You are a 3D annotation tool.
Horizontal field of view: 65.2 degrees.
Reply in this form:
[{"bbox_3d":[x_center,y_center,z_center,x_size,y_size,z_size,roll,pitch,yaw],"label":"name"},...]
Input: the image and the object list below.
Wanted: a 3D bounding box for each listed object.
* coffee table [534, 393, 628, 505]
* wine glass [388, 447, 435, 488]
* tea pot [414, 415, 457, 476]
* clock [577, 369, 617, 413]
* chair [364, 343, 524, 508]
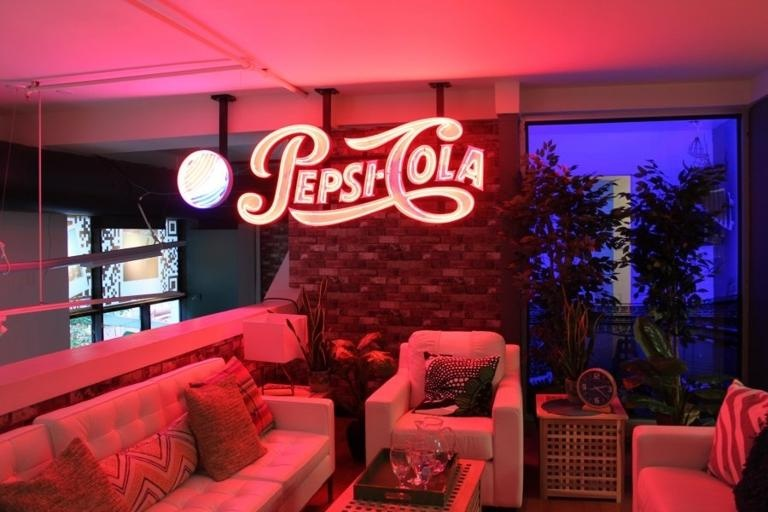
[{"bbox_3d":[1.662,1.664,5.085,0.640,0.500,0.836,0,-2,11],"label":"coffee table"},{"bbox_3d":[0.192,1.400,4.081,0.286,0.255,0.296,-1,-7,-8],"label":"wine glass"},{"bbox_3d":[0.394,1.277,4.058,0.276,0.303,0.337,0,-17,-26],"label":"tea pot"},{"bbox_3d":[1.833,1.172,5.190,0.386,0.380,0.157,-2,-8,17],"label":"clock"},{"bbox_3d":[0.434,1.317,5.194,1.383,1.273,1.388,-1,-6,15],"label":"chair"}]
